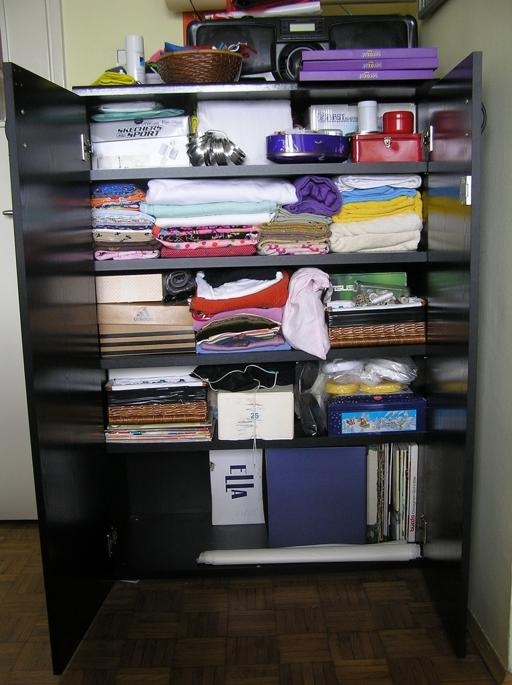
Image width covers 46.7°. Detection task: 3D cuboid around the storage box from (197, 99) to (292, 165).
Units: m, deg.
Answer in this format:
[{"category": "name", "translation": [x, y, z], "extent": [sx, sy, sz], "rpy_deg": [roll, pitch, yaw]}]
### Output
[{"category": "storage box", "translation": [-0.042, -0.685, 1.913], "extent": [0.355, 0.219, 0.070], "rpy_deg": [0, 7, -4]}]

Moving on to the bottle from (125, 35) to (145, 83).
[{"category": "bottle", "translation": [-0.382, -0.898, 1.874], "extent": [0.057, 0.161, 0.077], "rpy_deg": [-3, 9, -11]}]

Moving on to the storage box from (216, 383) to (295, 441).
[{"category": "storage box", "translation": [0.000, 0.234, 2.052], "extent": [0.202, 0.118, 0.192], "rpy_deg": [-1, -2, -2]}]

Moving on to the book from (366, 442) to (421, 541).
[{"category": "book", "translation": [0.481, 0.539, 2.092], "extent": [0.346, 0.291, 0.078], "rpy_deg": [1, 5, 7]}]

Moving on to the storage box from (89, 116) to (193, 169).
[{"category": "storage box", "translation": [-0.378, -0.649, 1.925], "extent": [0.369, 0.185, 0.170], "rpy_deg": [0, 6, -3]}]

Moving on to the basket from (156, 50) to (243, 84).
[{"category": "basket", "translation": [-0.167, -0.822, 1.772], "extent": [0.161, 0.055, 0.153], "rpy_deg": [-20, 30, -35]}]

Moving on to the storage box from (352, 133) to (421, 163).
[{"category": "storage box", "translation": [0.413, -0.608, 1.817], "extent": [0.174, 0.068, 0.121], "rpy_deg": [1, 20, 2]}]

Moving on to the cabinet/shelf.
[{"category": "cabinet/shelf", "translation": [-0.006, 0.030, 1.894], "extent": [1.202, 1.636, 0.954], "rpy_deg": [-3, 9, -7]}]
